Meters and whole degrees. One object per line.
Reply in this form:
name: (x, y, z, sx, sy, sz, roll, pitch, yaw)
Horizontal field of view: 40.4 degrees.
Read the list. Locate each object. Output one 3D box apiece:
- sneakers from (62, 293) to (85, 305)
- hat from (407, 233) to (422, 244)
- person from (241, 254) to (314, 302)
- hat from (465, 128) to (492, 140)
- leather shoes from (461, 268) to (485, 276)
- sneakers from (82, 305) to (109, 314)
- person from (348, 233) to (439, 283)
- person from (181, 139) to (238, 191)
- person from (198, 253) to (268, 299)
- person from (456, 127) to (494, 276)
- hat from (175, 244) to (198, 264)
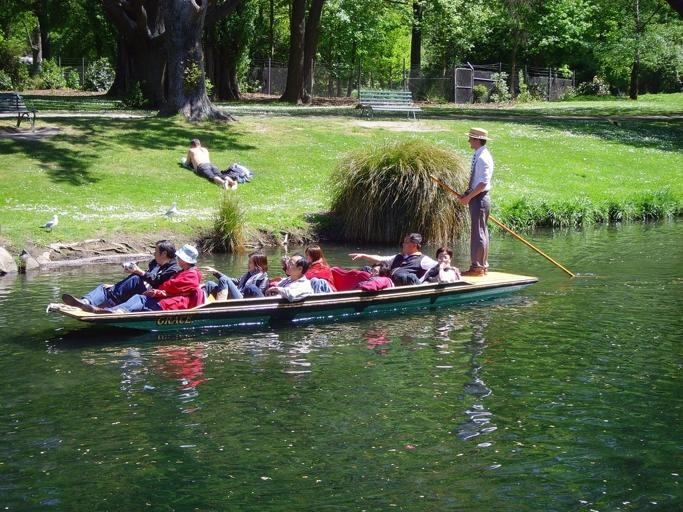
sneakers: (-3.847, 0.605, 13.239, 0.406, 0.124, 0.178, 16, 16, 31)
hat: (1.180, -0.284, 15.173, 0.188, 0.193, 0.219, 1, 10, -10)
person: (-0.974, 0.311, 14.315, 0.977, 0.853, 0.627, 10, 1, -11)
hat: (2.312, -2.073, 15.871, 0.251, 0.193, 0.291, 2, 7, 22)
leather shoes: (2.271, 0.277, 16.126, 0.430, 0.148, 0.138, 1, 2, 15)
sneakers: (-3.473, 0.753, 13.230, 0.294, 0.063, 0.156, 19, -3, -42)
person: (0.959, 0.041, 16.783, 1.177, 0.353, 0.724, -1, 44, 17)
person: (-3.175, -2.262, 22.839, 0.573, 1.176, 1.653, -7, 10, -43)
person: (-1.679, 0.349, 14.625, 0.972, 0.538, 0.661, 3, -4, -30)
person: (2.357, -0.964, 16.482, 0.512, 2.553, 1.321, 1, 8, 8)
hat: (-2.286, -0.020, 13.676, 0.276, 0.298, 0.371, -2, 7, -13)
